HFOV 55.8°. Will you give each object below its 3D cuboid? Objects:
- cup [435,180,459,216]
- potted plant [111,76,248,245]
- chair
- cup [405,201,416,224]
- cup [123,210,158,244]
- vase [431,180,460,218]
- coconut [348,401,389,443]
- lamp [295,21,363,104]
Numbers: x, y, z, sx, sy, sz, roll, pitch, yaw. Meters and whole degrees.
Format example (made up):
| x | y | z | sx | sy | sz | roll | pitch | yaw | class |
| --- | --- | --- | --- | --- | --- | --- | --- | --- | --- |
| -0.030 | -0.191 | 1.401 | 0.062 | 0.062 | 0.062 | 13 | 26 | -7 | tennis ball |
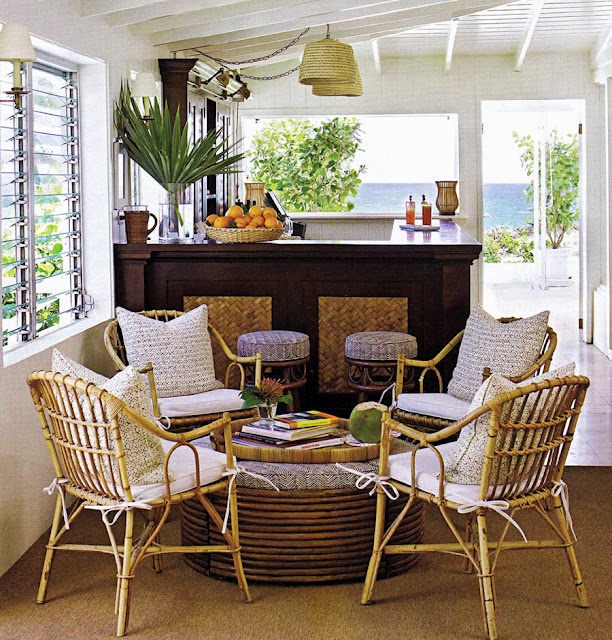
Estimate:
| x | y | z | sx | sy | sz | roll | pitch | yaw | class |
| --- | --- | --- | --- | --- | --- | --- | --- | --- | --- |
| 1.696 | -1.477 | 6.970 | 0.251 | 0.329 | 0.439 | 0 | -2 | 12 | cup |
| -0.868 | -1.113 | 3.939 | 0.747 | 0.998 | 0.617 | 0 | -2 | -6 | potted plant |
| 0.012 | 0.542 | 1.921 | 1.801 | 0.804 | 1.020 | 0 | -2 | 5 | chair |
| 0.970 | -0.996 | 5.354 | 0.075 | 0.254 | 0.140 | 0 | -2 | 5 | cup |
| -1.108 | -0.610 | 3.859 | 0.205 | 0.233 | 0.210 | 0 | -2 | 0 | cup |
| 1.719 | -1.474 | 7.037 | 0.421 | 0.491 | 0.401 | -1 | 6 | -5 | vase |
| 0.232 | 0.386 | 2.254 | 0.170 | 0.158 | 0.155 | 2 | 3 | 3 | coconut |
| 0.179 | -1.946 | 4.333 | 0.456 | 0.443 | 0.486 | 0 | -2 | 6 | lamp |
